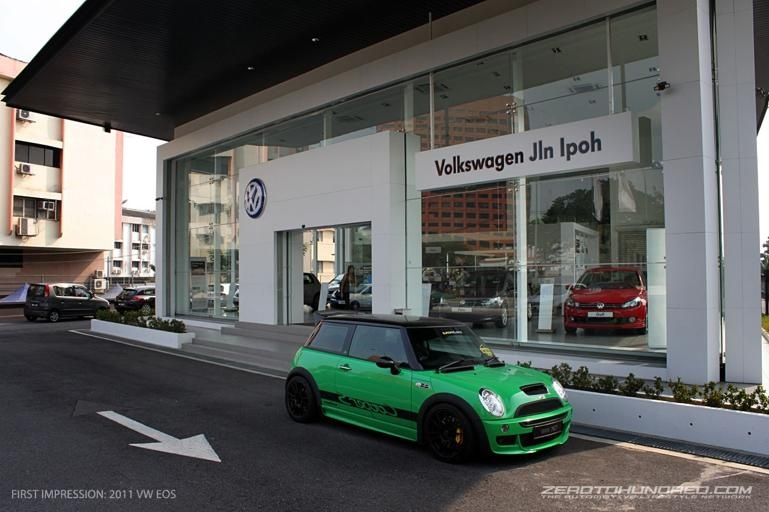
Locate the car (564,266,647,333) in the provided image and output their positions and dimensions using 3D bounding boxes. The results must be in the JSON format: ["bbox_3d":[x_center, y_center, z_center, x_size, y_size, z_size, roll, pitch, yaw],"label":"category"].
[{"bbox_3d":[5.316,1.032,12.288,1.446,1.181,2.628,-2,-5,27],"label":"car"}]

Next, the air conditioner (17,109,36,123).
[{"bbox_3d":[-25.332,-9.862,36.661,0.520,0.748,1.256,0,3,22],"label":"air conditioner"}]

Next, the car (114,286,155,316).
[{"bbox_3d":[-12.997,2.347,27.090,1.500,1.239,3.300,1,2,15],"label":"car"}]

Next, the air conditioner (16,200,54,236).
[{"bbox_3d":[-24.920,-2.698,36.767,1.041,2.311,2.675,1,-1,28],"label":"air conditioner"}]

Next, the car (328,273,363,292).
[{"bbox_3d":[-2.022,1.349,26.289,1.544,0.779,0.907,3,-1,-7],"label":"car"}]

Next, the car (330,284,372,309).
[{"bbox_3d":[-1.366,1.798,23.291,2.000,0.889,1.206,2,-3,-17],"label":"car"}]

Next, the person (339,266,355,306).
[{"bbox_3d":[-1.579,1.333,22.343,0.584,1.884,1.569,-1,3,-3],"label":"person"}]

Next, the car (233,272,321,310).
[{"bbox_3d":[-4.284,1.535,24.942,2.934,1.513,1.735,5,-7,-30],"label":"car"}]

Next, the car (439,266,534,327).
[{"bbox_3d":[2.734,1.157,14.208,1.290,0.972,2.141,-3,-8,36],"label":"car"}]
